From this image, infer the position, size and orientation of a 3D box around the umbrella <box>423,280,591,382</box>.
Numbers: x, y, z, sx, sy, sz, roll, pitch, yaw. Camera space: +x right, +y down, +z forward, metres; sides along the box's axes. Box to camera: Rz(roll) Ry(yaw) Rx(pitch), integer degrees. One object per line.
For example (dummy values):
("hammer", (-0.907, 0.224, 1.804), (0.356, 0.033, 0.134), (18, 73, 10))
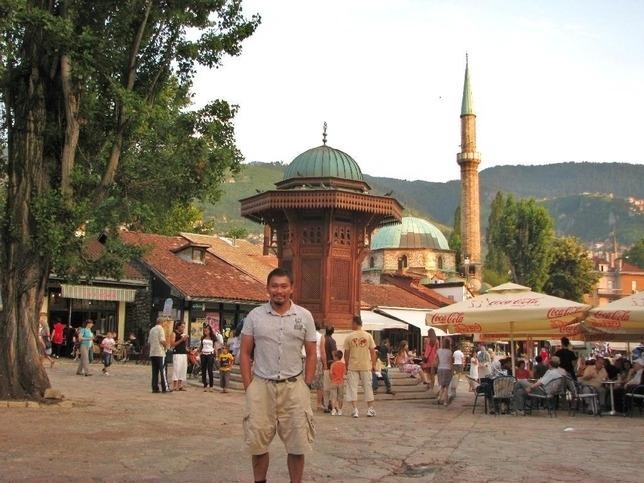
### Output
("umbrella", (4.973, 1.833, 24.223), (3.707, 1.504, 4.228), (-3, -7, 14))

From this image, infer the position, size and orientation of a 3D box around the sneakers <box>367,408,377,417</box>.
("sneakers", (1.150, 3.914, 21.399), (0.116, 0.143, 0.327), (0, -2, 12))

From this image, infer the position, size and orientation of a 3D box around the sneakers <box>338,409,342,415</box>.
("sneakers", (0.438, 3.945, 21.482), (0.100, 0.193, 0.127), (2, -13, -6))
